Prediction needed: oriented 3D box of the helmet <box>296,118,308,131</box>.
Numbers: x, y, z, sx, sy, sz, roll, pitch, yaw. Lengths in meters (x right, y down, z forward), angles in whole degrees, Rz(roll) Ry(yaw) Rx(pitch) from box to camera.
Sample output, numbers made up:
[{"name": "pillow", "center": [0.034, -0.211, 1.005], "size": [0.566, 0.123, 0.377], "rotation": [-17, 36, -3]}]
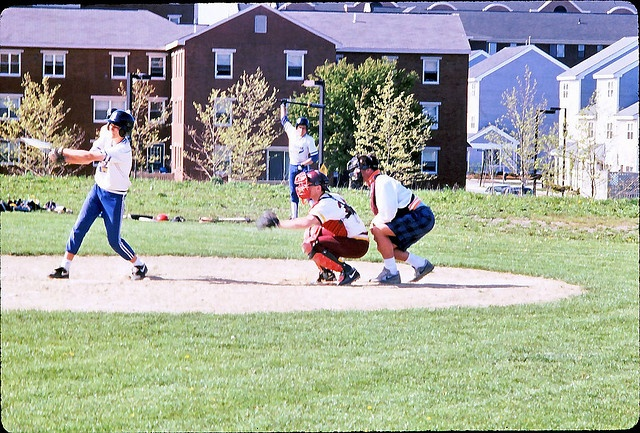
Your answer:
[{"name": "helmet", "center": [-0.551, -2.849, 37.858], "size": [0.278, 0.360, 0.336], "rotation": [5, 42, 0]}]

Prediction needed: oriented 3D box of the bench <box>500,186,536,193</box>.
[{"name": "bench", "center": [10.161, -1.361, 63.659], "size": [0.973, 0.296, 0.597], "rotation": [3, -2, -16]}]

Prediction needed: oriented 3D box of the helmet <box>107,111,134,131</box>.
[{"name": "helmet", "center": [-5.120, -2.498, 31.840], "size": [0.609, 0.461, 0.462], "rotation": [15, 9, -41]}]
